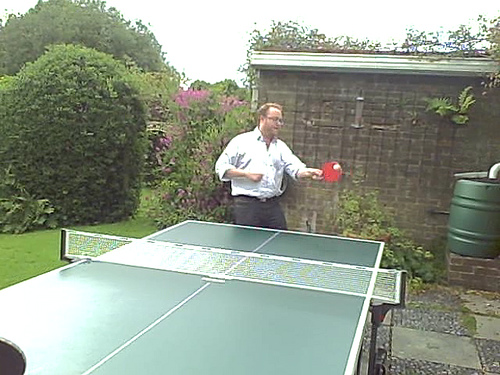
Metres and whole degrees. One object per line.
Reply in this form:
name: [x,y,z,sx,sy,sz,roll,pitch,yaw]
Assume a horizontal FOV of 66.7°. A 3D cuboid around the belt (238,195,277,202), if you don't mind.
belt: [0.101,0.128,4.341,0.418,0.061,0.078,2,8,-8]
